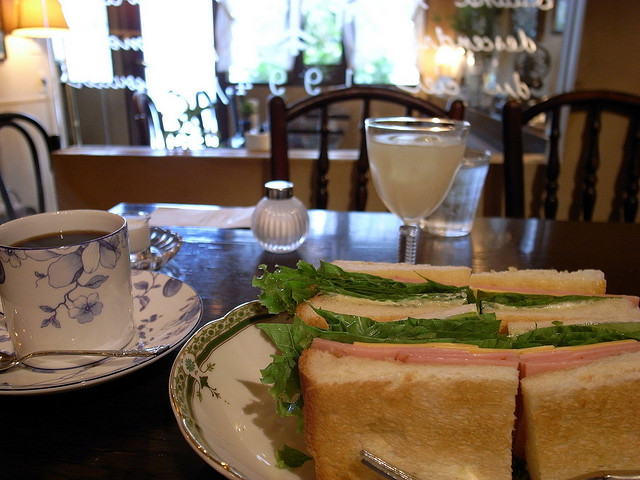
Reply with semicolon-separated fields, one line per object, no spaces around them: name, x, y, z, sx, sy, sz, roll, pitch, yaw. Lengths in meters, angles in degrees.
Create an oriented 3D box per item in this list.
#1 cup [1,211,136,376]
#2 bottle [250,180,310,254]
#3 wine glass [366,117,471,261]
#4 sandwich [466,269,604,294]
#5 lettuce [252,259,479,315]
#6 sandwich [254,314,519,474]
cup;-0.259;0.052;0.627;0.148;0.137;0.184;1;15;-2
bottle;-0.056;-0.045;0.919;0.117;0.125;0.113;-2;16;-6
wine glass;0.135;-0.070;0.773;0.138;0.228;0.169;-2;17;-4
sandwich;0.255;0.048;0.597;0.163;0.031;0.053;2;11;-1
lettuce;0.031;0.049;0.549;0.196;0.048;0.096;7;11;-6
sandwich;0.052;0.150;0.426;0.170;0.067;0.174;-12;-35;39
